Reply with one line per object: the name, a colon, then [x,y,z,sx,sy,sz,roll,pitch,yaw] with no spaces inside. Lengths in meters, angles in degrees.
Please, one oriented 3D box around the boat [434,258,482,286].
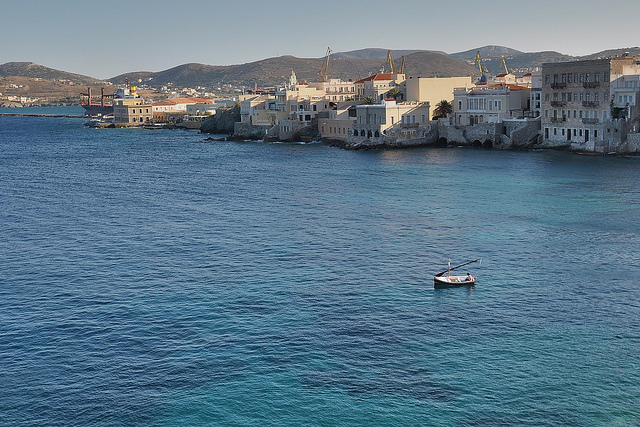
boat: [12.104,5.364,74.177,4.443,2.043,1.308,-1,17,-3]
